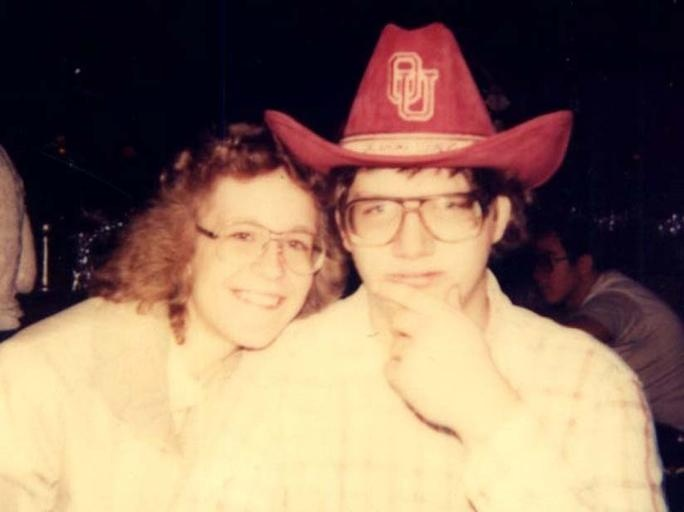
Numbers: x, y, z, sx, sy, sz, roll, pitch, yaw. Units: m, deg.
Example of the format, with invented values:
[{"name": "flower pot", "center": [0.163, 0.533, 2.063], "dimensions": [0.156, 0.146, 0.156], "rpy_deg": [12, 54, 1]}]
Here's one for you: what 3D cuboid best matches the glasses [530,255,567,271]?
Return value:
[{"name": "glasses", "center": [1.272, 0.043, 5.110], "dimensions": [0.113, 0.048, 0.142], "rpy_deg": [-7, -19, 28]}]
